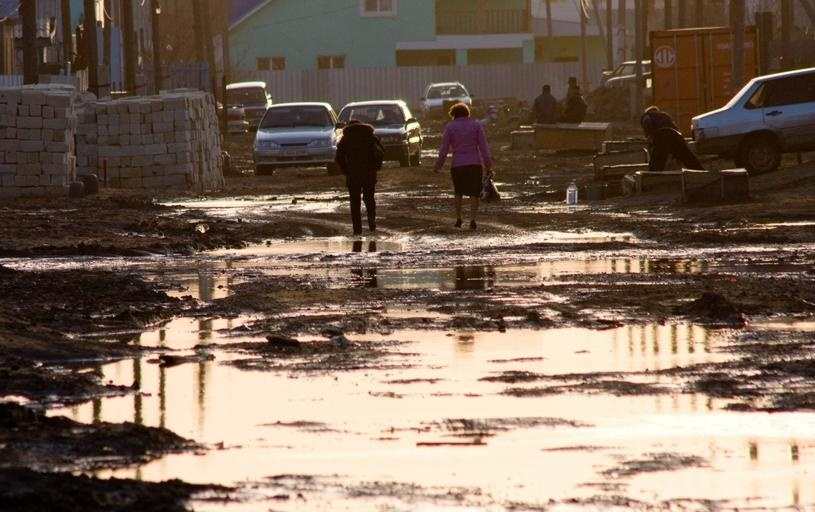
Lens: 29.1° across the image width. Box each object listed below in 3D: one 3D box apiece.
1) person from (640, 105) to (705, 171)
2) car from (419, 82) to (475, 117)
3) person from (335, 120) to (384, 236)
[{"bbox_3d":[4.726,-2.028,28.195,0.937,1.155,1.760,-1,10,8],"label":"person"},{"bbox_3d":[1.438,-5.877,58.863,1.878,1.187,2.927,-3,4,-5],"label":"car"},{"bbox_3d":[-0.750,-1.213,24.579,0.708,1.697,0.899,-3,10,0],"label":"person"}]
